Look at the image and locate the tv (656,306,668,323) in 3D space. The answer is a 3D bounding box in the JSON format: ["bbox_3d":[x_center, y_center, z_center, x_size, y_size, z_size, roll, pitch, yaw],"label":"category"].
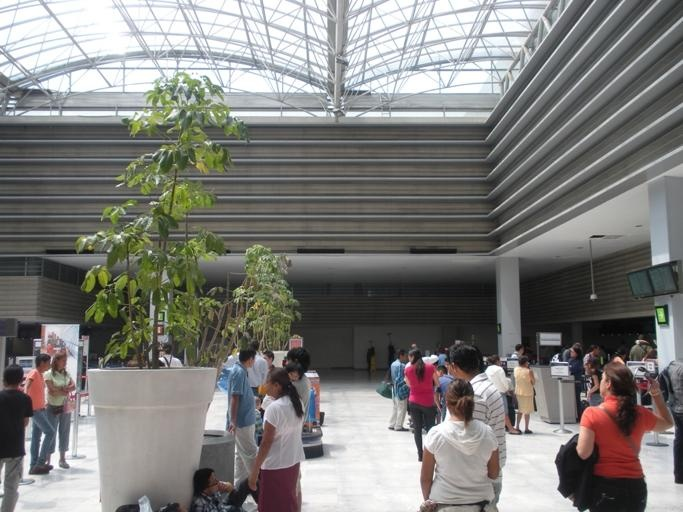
[{"bbox_3d":[6.986,1.268,11.517,0.095,0.352,0.295,9,-10,-3],"label":"tv"}]

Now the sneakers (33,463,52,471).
[{"bbox_3d":[-5.070,3.577,8.945,0.094,0.125,0.276,9,-9,23],"label":"sneakers"}]

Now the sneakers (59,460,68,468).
[{"bbox_3d":[-4.890,3.658,9.338,0.077,0.103,0.243,1,-4,2],"label":"sneakers"}]

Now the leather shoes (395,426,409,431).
[{"bbox_3d":[1.417,4.052,12.426,0.354,0.157,0.125,0,-8,-2],"label":"leather shoes"}]

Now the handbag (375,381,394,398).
[{"bbox_3d":[0.968,3.026,11.966,0.334,0.407,0.426,12,-5,6],"label":"handbag"}]

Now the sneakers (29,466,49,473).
[{"bbox_3d":[-5.118,3.594,8.932,0.281,0.141,0.126,-1,-10,-9],"label":"sneakers"}]
